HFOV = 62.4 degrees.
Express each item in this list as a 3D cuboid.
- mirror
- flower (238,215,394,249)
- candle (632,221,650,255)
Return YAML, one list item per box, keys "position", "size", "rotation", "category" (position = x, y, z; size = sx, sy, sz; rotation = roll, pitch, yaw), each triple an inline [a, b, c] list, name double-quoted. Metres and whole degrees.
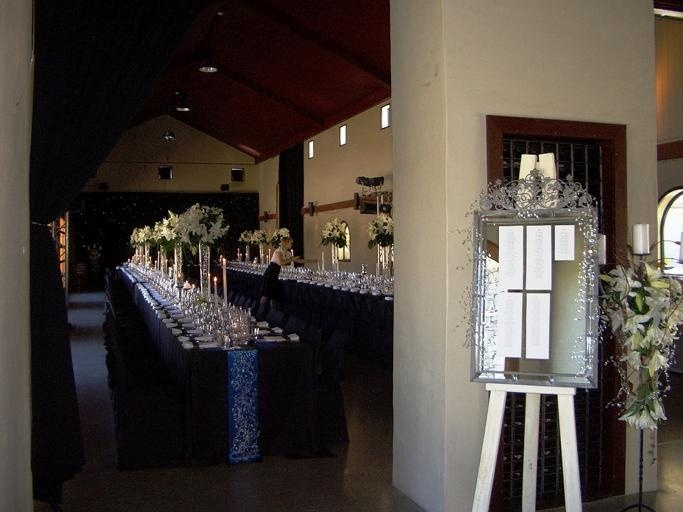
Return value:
- position: [0.985, 0.094, 2.910]
  size: [0.581, 1.190, 0.055]
  rotation: [-2, -24, 24]
  category: "mirror"
- position: [-0.613, -0.560, 12.884]
  size: [3.576, 1.178, 0.943]
  rotation: [2, -2, -14]
  category: "flower"
- position: [1.749, -0.123, 3.302]
  size: [0.085, 0.179, 0.093]
  rotation: [1, -11, 26]
  category: "candle"
